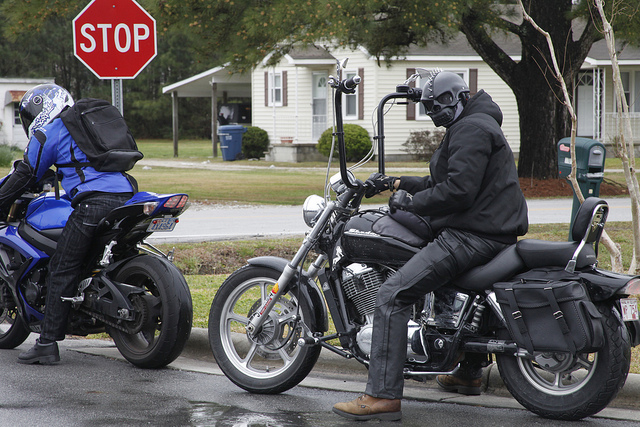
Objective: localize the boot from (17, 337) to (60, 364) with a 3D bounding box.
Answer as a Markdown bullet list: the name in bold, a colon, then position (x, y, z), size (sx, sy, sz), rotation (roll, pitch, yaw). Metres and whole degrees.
- **boot**: position (-3.174, 1.542, 10.443), size (0.497, 0.292, 0.228), rotation (-6, -4, 6)

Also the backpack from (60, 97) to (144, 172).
- **backpack**: position (-2.463, -0.855, 10.624), size (0.458, 0.895, 0.682), rotation (-24, -2, 31)

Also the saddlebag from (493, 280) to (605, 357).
- **saddlebag**: position (2.185, 0.996, 8.908), size (1.010, 0.713, 0.190), rotation (3, 12, 18)

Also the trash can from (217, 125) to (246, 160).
- **trash can**: position (-3.699, -2.970, 39.259), size (1.304, 1.670, 1.331), rotation (-1, 0, -9)

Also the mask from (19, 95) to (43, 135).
- **mask**: position (-3.312, -1.132, 10.682), size (0.337, 0.438, 0.114), rotation (4, 13, 24)

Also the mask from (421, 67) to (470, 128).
- **mask**: position (1.292, -1.199, 9.511), size (0.534, 0.585, 0.627), rotation (-15, 2, 33)

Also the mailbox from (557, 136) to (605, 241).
- **mailbox**: position (3.312, -0.293, 11.862), size (0.413, 1.309, 0.533), rotation (-10, 16, -35)
